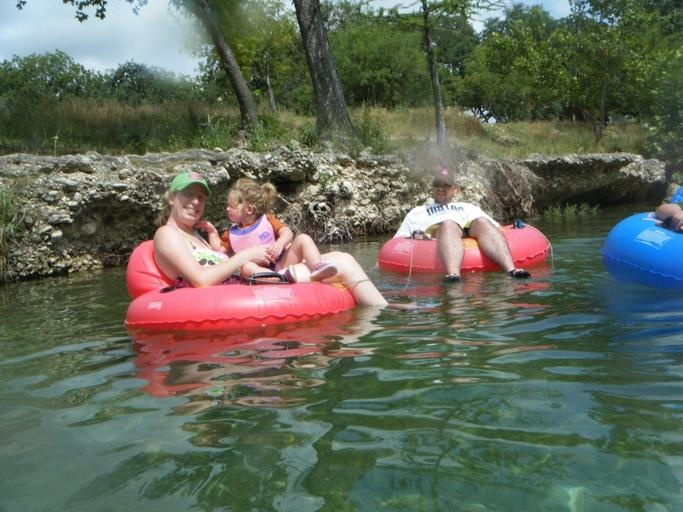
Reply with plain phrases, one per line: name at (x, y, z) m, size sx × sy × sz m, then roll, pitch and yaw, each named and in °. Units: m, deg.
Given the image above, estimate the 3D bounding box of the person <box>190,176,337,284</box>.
person at (-0.672, -0.213, 5.283) m, size 1.630 × 0.950 × 0.730 m, roll -2°, pitch 10°, yaw 45°

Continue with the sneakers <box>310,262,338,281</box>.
sneakers at (-0.162, 0.129, 5.020) m, size 0.241 × 0.114 × 0.141 m, roll -25°, pitch 31°, yaw 12°

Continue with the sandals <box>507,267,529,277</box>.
sandals at (1.743, 0.161, 5.872) m, size 0.086 × 0.068 × 0.176 m, roll 0°, pitch -6°, yaw -20°

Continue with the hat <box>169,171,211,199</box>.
hat at (-1.278, -0.633, 4.965) m, size 0.324 × 0.197 × 0.278 m, roll -6°, pitch 6°, yaw -11°

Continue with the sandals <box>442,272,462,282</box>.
sandals at (1.113, 0.202, 6.000) m, size 0.103 × 0.081 × 0.217 m, roll -2°, pitch -7°, yaw 20°

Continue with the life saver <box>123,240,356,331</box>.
life saver at (-0.928, 0.189, 5.132) m, size 1.813 × 0.523 × 1.476 m, roll 0°, pitch 10°, yaw 7°

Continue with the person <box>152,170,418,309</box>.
person at (-0.469, -0.049, 5.055) m, size 2.333 × 0.942 × 0.925 m, roll 4°, pitch 15°, yaw 9°

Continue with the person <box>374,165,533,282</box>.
person at (1.315, -0.367, 6.718) m, size 1.215 × 0.689 × 1.632 m, roll -2°, pitch 8°, yaw -9°
